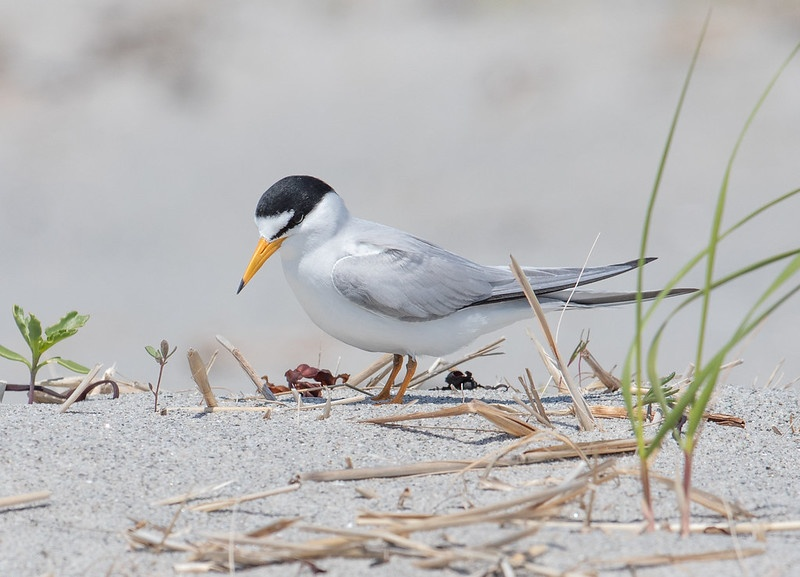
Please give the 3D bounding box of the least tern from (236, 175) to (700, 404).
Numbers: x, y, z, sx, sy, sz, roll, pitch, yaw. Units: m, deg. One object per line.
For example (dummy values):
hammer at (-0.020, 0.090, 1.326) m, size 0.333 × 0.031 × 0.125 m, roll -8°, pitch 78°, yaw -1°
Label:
least tern at (0.323, -0.012, 4.819) m, size 2.285 × 1.010 × 0.618 m, roll -2°, pitch -1°, yaw -13°
